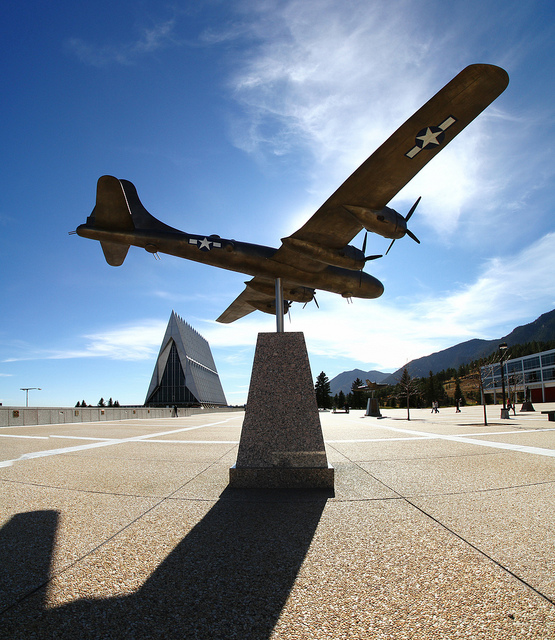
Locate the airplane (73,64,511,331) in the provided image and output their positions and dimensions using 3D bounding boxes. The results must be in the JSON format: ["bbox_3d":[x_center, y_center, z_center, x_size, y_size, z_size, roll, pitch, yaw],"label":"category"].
[{"bbox_3d":[0.437,-1.310,8.124,6.520,2.682,3.578,-4,-10,24],"label":"airplane"}]
